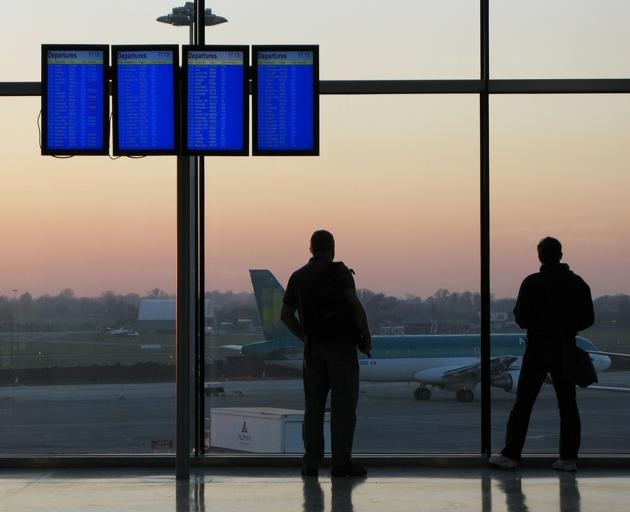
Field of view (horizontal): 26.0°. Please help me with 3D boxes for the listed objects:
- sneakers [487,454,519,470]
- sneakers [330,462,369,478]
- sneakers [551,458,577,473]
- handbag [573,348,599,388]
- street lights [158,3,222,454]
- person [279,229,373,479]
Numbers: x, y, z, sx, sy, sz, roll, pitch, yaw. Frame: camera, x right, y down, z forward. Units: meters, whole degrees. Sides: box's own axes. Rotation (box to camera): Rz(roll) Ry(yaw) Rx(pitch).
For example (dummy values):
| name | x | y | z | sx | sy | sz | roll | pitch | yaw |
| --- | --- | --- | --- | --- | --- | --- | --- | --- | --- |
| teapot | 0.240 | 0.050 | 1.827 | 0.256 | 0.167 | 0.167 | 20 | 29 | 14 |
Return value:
| name | x | y | z | sx | sy | sz | roll | pitch | yaw |
| --- | --- | --- | --- | --- | --- | --- | --- | --- | --- |
| sneakers | 1.442 | 1.597 | 10.534 | 0.241 | 0.087 | 0.102 | 3 | -1 | 36 |
| sneakers | 0.257 | 1.619 | 10.306 | 0.293 | 0.100 | 0.105 | 1 | -2 | -15 |
| sneakers | 1.915 | 1.620 | 10.511 | 0.077 | 0.073 | 0.190 | -1 | 2 | -44 |
| handbag | 2.026 | 0.842 | 10.568 | 0.266 | 0.306 | 0.378 | -6 | 0 | 11 |
| street lights | -0.933 | -0.215 | 10.789 | 0.524 | 3.556 | 0.181 | -3 | -3 | 19 |
| person | 0.077 | 0.748 | 10.312 | 0.672 | 1.855 | 0.232 | -2 | -3 | 1 |
